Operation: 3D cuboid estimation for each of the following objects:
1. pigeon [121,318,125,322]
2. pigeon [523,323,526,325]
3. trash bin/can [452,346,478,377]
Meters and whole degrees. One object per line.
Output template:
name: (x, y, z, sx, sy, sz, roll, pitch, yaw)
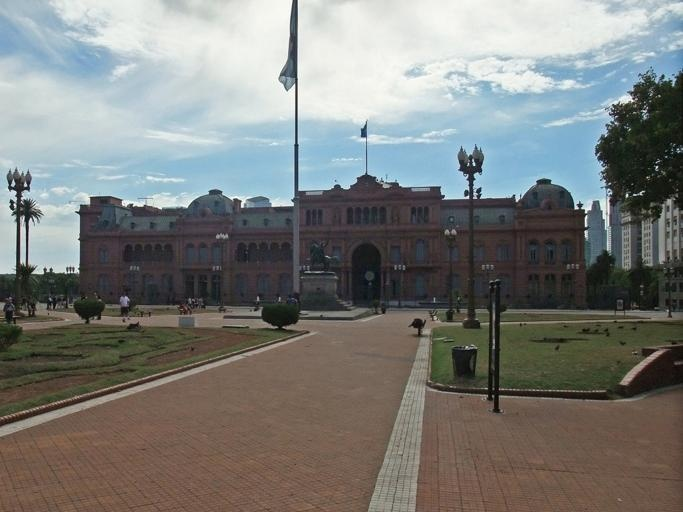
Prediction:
pigeon: (-13.378, 3.925, 51.847, 0.243, 0.219, 0.129, 1, 4, 34)
pigeon: (9.868, 3.655, 45.421, 0.215, 0.094, 0.267, -3, -3, 13)
trash bin/can: (4.108, 3.527, 28.141, 0.769, 1.015, 0.494, -1, -4, 7)
